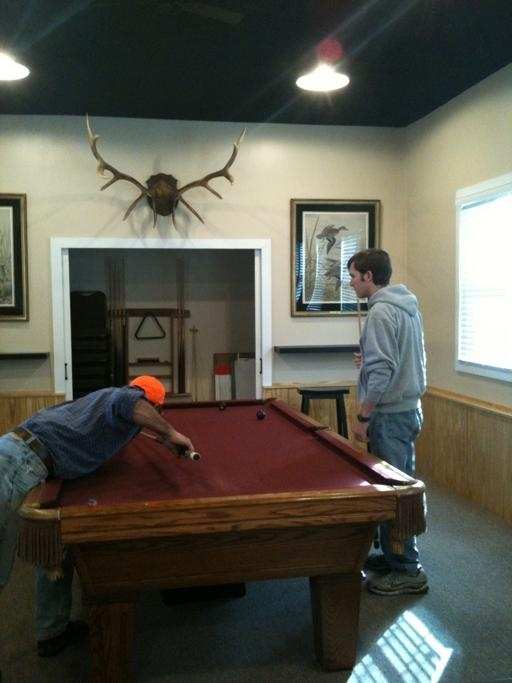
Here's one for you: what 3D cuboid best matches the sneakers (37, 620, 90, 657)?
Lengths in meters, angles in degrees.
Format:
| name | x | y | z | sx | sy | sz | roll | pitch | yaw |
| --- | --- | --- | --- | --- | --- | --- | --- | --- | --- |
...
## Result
| name | x | y | z | sx | sy | sz | roll | pitch | yaw |
| --- | --- | --- | --- | --- | --- | --- | --- | --- | --- |
| sneakers | -0.732 | 1.114 | 2.149 | 0.061 | 0.073 | 0.184 | 6 | 10 | 31 |

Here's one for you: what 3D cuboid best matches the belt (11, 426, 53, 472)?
| name | x | y | z | sx | sy | sz | roll | pitch | yaw |
| --- | --- | --- | --- | --- | --- | --- | --- | --- | --- |
| belt | -0.711 | 0.338 | 1.869 | 0.039 | 0.132 | 0.132 | -33 | -2 | -8 |

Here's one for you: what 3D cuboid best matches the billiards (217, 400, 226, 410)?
| name | x | y | z | sx | sy | sz | roll | pitch | yaw |
| --- | --- | --- | --- | --- | --- | --- | --- | --- | --- |
| billiards | -0.200 | 0.385 | 3.385 | 0.031 | 0.042 | 0.041 | -2 | 36 | -1 |

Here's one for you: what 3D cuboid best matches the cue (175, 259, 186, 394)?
| name | x | y | z | sx | sy | sz | roll | pitch | yaw |
| --- | --- | --- | --- | --- | --- | --- | --- | --- | --- |
| cue | -0.888 | -0.187 | 6.685 | 0.108 | 1.639 | 0.155 | -1 | 1 | -8 |

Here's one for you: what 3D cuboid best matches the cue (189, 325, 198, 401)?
| name | x | y | z | sx | sy | sz | roll | pitch | yaw |
| --- | --- | --- | --- | --- | --- | --- | --- | --- | --- |
| cue | -0.743 | 0.237 | 6.795 | 0.107 | 0.856 | 0.105 | -4 | -17 | 5 |

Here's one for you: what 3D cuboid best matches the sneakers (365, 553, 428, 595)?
| name | x | y | z | sx | sy | sz | roll | pitch | yaw |
| --- | --- | --- | --- | --- | --- | --- | --- | --- | --- |
| sneakers | 0.620 | 1.093 | 2.639 | 0.327 | 0.150 | 0.125 | 5 | -6 | -3 |

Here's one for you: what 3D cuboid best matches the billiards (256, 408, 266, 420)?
| name | x | y | z | sx | sy | sz | roll | pitch | yaw |
| --- | --- | --- | --- | --- | --- | --- | --- | --- | --- |
| billiards | 0.026 | 0.395 | 3.035 | 0.041 | 0.042 | 0.045 | -2 | 24 | 0 |

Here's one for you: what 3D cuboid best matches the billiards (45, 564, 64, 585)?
| name | x | y | z | sx | sy | sz | roll | pitch | yaw |
| --- | --- | --- | --- | --- | --- | --- | --- | --- | --- |
| billiards | -0.563 | 0.648 | 1.575 | 0.038 | 0.064 | 0.069 | -1 | 1 | -22 |

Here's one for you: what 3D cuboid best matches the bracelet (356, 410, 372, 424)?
| name | x | y | z | sx | sy | sz | roll | pitch | yaw |
| --- | --- | --- | --- | --- | --- | --- | --- | --- | --- |
| bracelet | 0.488 | 0.341 | 2.545 | 0.050 | 0.054 | 0.051 | 4 | -6 | -20 |
